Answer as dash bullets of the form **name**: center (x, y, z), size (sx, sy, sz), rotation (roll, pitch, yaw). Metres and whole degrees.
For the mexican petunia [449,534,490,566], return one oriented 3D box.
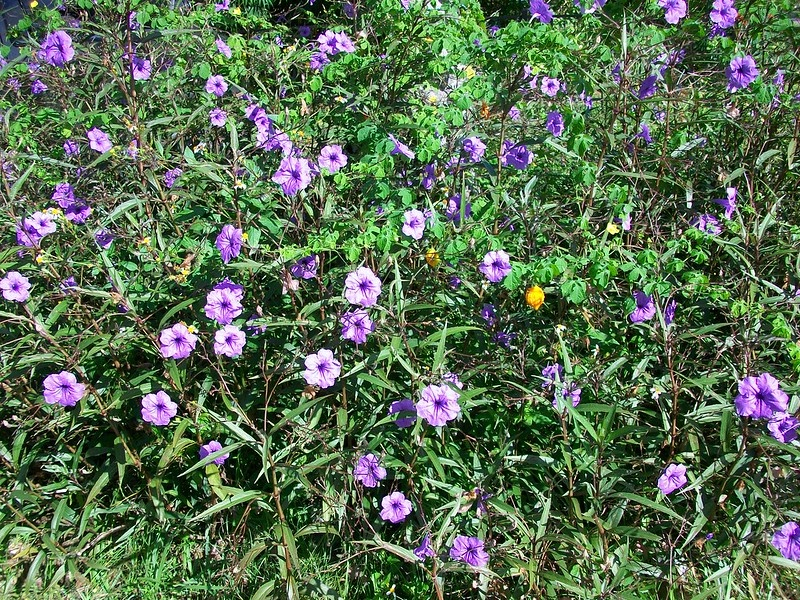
- **mexican petunia**: center (0.312, 1.108, 3.019), size (0.175, 0.057, 0.118), rotation (16, 78, 5)

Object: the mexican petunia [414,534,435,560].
- **mexican petunia**: center (0.110, 1.092, 3.021), size (0.083, 0.102, 0.103), rotation (16, 48, -12)
